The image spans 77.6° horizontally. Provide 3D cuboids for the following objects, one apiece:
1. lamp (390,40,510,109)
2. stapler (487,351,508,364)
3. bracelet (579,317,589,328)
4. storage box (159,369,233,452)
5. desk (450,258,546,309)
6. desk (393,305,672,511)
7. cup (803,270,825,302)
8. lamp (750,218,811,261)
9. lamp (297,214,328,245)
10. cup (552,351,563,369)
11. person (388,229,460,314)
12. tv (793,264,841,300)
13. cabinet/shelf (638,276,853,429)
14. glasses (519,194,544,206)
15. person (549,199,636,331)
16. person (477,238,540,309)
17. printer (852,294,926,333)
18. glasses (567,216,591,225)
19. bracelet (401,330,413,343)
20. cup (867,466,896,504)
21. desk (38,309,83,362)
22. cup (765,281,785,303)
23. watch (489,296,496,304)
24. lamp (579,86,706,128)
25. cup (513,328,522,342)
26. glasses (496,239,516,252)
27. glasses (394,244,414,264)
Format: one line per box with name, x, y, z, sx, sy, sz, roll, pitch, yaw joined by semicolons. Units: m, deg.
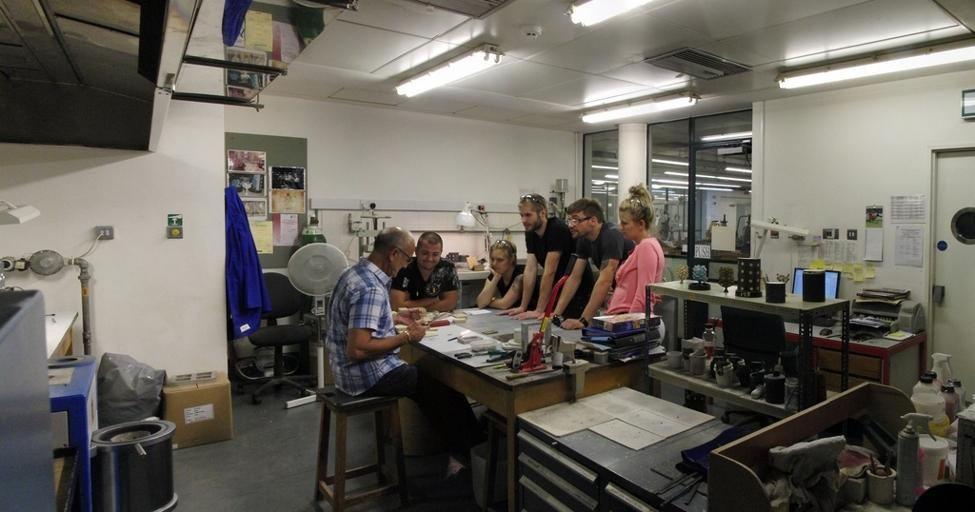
lamp;-0.387;-1.859;6.378;0.212;0.220;1.041;16;-12;-43
stapler;0.080;0.807;4.892;0.117;0.031;0.107;-6;11;-20
bracelet;0.875;0.598;5.515;0.065;0.071;0.051;8;6;0
storage box;-2.845;1.497;6.134;0.726;0.606;0.670;-3;11;-32
desk;-0.028;0.375;8.045;1.225;0.656;0.603;-2;7;-21
desk;0.254;0.769;5.581;1.721;1.895;2.225;-6;8;-30
cup;2.320;0.212;4.350;0.142;0.222;0.074;2;5;26
lamp;3.435;-0.196;7.098;0.509;0.450;0.373;12;-2;-16
lamp;-2.121;-0.322;7.361;0.309;0.352;0.483;-2;4;-15
cup;0.553;0.806;4.763;0.099;0.114;0.046;-3;5;-27
person;-0.663;0.183;6.116;0.755;0.796;0.568;0;13;-25
tv;3.006;0.239;5.540;0.430;0.281;0.043;1;-8;34
cabinet/shelf;1.989;0.569;4.701;1.035;1.076;1.872;-2;3;-33
glasses;0.465;-0.561;6.067;0.204;0.106;0.245;4;9;40
person;1.018;0.023;5.872;1.271;1.099;0.628;-10;8;-40
person;0.199;0.201;6.409;0.645;0.671;0.625;0;3;10
printer;4.229;0.599;6.376;0.510;0.256;0.492;-10;13;-37
glasses;0.861;-0.338;5.713;0.204;0.063;0.057;0;4;8
bracelet;-0.659;0.661;4.999;0.102;0.078;0.073;-3;18;-26
cup;2.571;1.509;4.055;0.227;0.203;0.235;0;1;0
desk;-3.443;0.635;4.904;0.250;0.301;0.668;-5;9;-31
cup;2.032;0.251;4.366;0.158;0.141;0.148;1;-5;0
watch;0.052;0.473;6.440;0.059;0.056;0.060;-1;1;-16
lamp;1.988;-1.910;7.842;0.605;0.151;1.598;-4;5;-42
cup;0.229;0.675;5.132;0.097;0.078;0.089;0;5;0
glasses;0.197;-0.113;6.204;0.156;0.043;0.150;24;-12;-30
glasses;-0.726;-0.014;5.123;0.134;0.041;0.134;43;17;21
